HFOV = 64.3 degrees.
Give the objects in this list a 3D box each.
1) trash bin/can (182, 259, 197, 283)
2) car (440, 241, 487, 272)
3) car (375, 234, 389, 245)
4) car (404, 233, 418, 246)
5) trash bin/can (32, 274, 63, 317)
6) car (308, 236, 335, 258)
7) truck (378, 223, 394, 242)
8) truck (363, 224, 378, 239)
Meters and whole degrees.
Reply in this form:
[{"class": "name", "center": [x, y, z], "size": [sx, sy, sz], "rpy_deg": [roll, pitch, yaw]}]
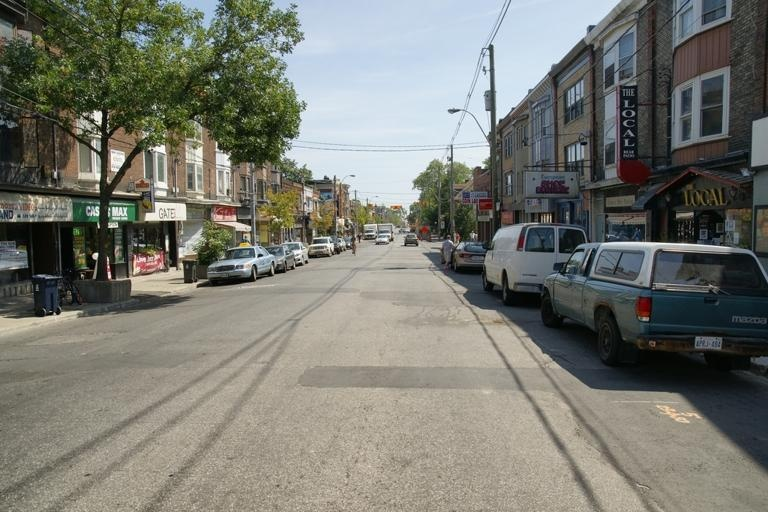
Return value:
[{"class": "trash bin/can", "center": [-8.955, 0.672, 28.258], "size": [0.872, 1.308, 0.756], "rpy_deg": [-1, 1, -6]}, {"class": "car", "center": [3.904, 0.049, 29.558], "size": [1.220, 0.962, 2.806], "rpy_deg": [1, 6, -1]}, {"class": "car", "center": [-0.150, -2.332, 85.926], "size": [1.246, 0.991, 2.877], "rpy_deg": [0, 6, 4]}, {"class": "car", "center": [3.394, -1.992, 75.402], "size": [1.502, 1.355, 2.438], "rpy_deg": [1, 9, 6]}, {"class": "trash bin/can", "center": [-9.846, 1.123, 17.836], "size": [0.677, 1.166, 0.598], "rpy_deg": [-7, 11, -34]}, {"class": "car", "center": [-5.221, -0.669, 51.236], "size": [1.676, 1.600, 2.634], "rpy_deg": [1, 9, 7]}, {"class": "truck", "center": [0.248, -3.915, 94.028], "size": [1.899, 2.138, 3.912], "rpy_deg": [-1, -2, 0]}, {"class": "truck", "center": [-2.464, -4.664, 113.373], "size": [1.821, 2.062, 3.588], "rpy_deg": [-1, -2, 0]}]
